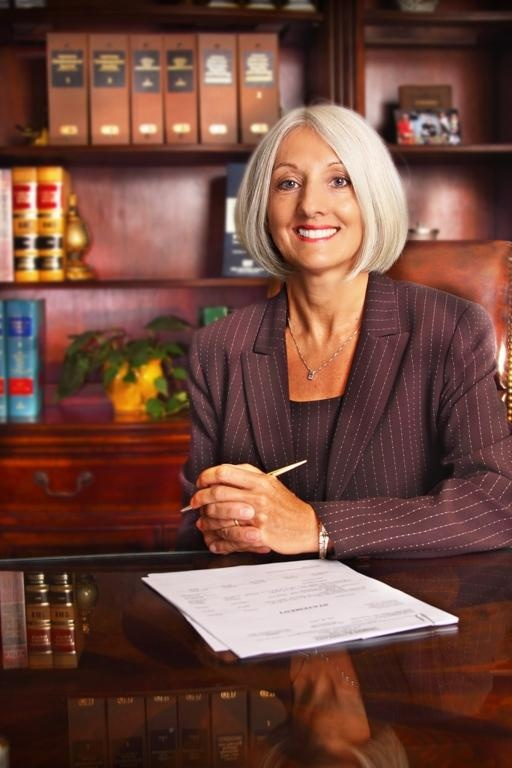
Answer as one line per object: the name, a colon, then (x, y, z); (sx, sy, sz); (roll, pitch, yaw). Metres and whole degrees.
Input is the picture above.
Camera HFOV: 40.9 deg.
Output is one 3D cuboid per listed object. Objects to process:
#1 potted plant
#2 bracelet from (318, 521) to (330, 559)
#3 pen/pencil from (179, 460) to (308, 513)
potted plant: (-0.389, -0.026, 2.171); (0.407, 0.203, 0.412); (0, -9, 41)
bracelet: (0.079, 0.186, 0.809); (0.010, 0.029, 0.022); (4, 1, 11)
pen/pencil: (-0.009, 0.140, 0.938); (0.215, 0.029, 0.028); (-24, 52, 12)
